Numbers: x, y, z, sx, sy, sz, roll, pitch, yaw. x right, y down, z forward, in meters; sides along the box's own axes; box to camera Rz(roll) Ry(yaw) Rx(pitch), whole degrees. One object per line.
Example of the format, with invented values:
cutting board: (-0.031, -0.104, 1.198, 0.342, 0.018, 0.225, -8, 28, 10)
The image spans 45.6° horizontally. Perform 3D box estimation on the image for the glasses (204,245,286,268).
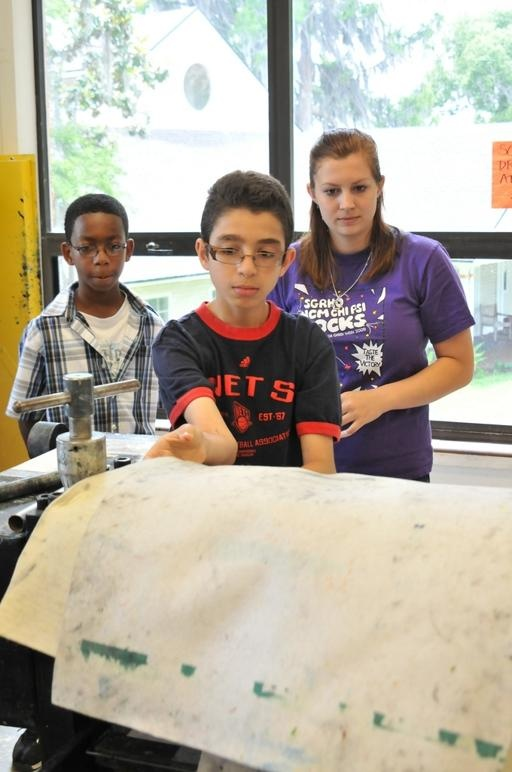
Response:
glasses: (-0.014, -0.165, 0.776, 0.092, 0.031, 0.046, -1, 6, -5)
